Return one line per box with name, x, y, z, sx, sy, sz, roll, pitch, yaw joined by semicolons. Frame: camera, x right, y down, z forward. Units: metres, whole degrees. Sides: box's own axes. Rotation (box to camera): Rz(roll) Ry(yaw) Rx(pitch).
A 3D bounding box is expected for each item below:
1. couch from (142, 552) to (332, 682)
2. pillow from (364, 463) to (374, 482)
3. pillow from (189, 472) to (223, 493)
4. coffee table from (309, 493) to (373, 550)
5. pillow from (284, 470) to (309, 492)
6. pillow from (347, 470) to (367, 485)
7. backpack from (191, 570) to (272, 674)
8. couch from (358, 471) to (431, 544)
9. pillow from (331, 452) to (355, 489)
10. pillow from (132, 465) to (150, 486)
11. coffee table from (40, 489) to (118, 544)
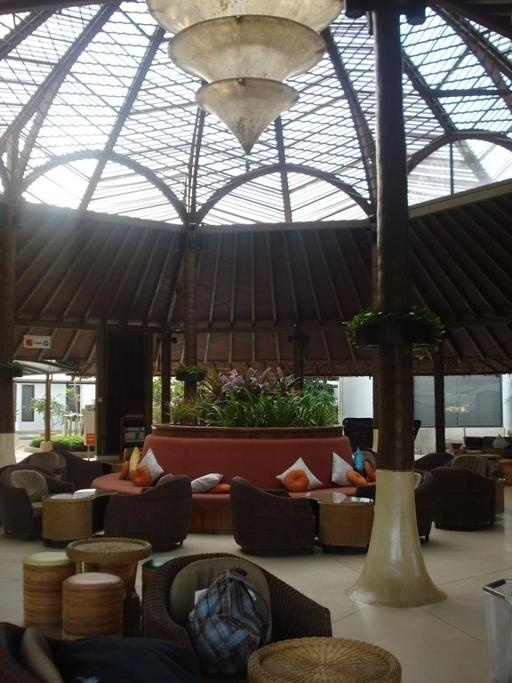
couch;-0.125;0.985;2.132;0.434;0.521;0.465;6;-21;-24
pillow;1.420;1.665;6.977;0.118;0.226;0.122;13;-34;-17
pillow;-0.553;1.610;6.230;0.314;0.204;0.115;0;-7;-7
coffee table;0.813;1.730;5.358;0.495;0.396;0.823;3;-7;-15
pillow;0.457;1.574;6.204;0.229;0.225;0.083;-3;-41;-4
pillow;1.180;1.626;6.522;0.180;0.059;0.176;12;7;-21
backpack;-0.088;0.972;1.933;0.233;0.296;0.122;10;-28;-18
couch;1.564;1.776;5.822;0.629;0.736;0.820;-6;-9;37
pillow;1.007;1.558;6.623;0.335;0.309;0.095;8;-28;-37
pillow;-1.348;1.611;6.653;0.201;0.199;0.189;15;0;8
coffee table;-1.762;1.751;5.614;0.416;0.350;0.699;1;2;28
